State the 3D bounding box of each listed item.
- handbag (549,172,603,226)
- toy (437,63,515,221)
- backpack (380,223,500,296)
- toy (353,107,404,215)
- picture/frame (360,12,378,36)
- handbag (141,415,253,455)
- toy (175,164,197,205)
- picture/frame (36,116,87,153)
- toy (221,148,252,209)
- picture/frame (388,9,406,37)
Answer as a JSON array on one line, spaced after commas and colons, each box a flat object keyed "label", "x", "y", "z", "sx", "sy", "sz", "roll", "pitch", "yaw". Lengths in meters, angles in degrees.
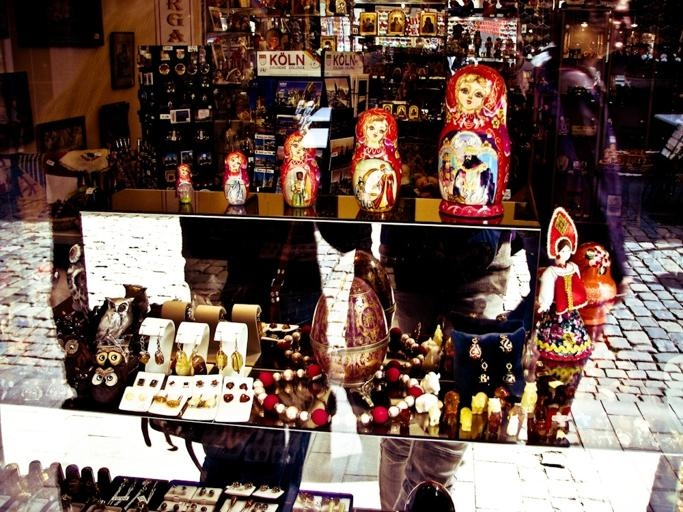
[{"label": "handbag", "x": 0.983, "y": -0.261, "z": 2.131, "sx": 0.124, "sy": 0.215, "sz": 0.211, "roll": -17, "pitch": 18, "yaw": -37}, {"label": "toy", "x": 0.420, "y": -0.351, "z": 1.646, "sx": 0.225, "sy": 0.465, "sz": 0.151, "roll": 3, "pitch": 18, "yaw": 9}, {"label": "backpack", "x": 0.349, "y": 0.001, "z": 2.004, "sx": 0.294, "sy": 0.075, "sz": 0.304, "roll": 0, "pitch": 57, "yaw": 4}, {"label": "toy", "x": 0.112, "y": -0.300, "z": 1.701, "sx": 0.162, "sy": 0.332, "sz": 0.123, "roll": -2, "pitch": 18, "yaw": -8}, {"label": "picture/frame", "x": 0.118, "y": -1.025, "z": 2.316, "sx": 0.082, "sy": 0.095, "sz": 0.050, "roll": -1, "pitch": 18, "yaw": -3}, {"label": "handbag", "x": -0.610, "y": 0.737, "z": 2.168, "sx": 0.271, "sy": 0.067, "sz": 0.183, "roll": 6, "pitch": 14, "yaw": 10}, {"label": "toy", "x": -0.555, "y": -0.252, "z": 1.832, "sx": 0.061, "sy": 0.127, "sz": 0.106, "roll": -5, "pitch": 19, "yaw": -18}, {"label": "picture/frame", "x": -1.137, "y": -0.487, "z": 2.093, "sx": 0.134, "sy": 0.143, "sz": 0.014, "roll": -12, "pitch": 2, "yaw": -10}, {"label": "toy", "x": -0.355, "y": -0.267, "z": 1.800, "sx": 0.110, "sy": 0.178, "sz": 0.098, "roll": -13, "pitch": 22, "yaw": -35}, {"label": "picture/frame", "x": 0.244, "y": -1.030, "z": 2.315, "sx": 0.086, "sy": 0.105, "sz": 0.072, "roll": 6, "pitch": 19, "yaw": 16}]
